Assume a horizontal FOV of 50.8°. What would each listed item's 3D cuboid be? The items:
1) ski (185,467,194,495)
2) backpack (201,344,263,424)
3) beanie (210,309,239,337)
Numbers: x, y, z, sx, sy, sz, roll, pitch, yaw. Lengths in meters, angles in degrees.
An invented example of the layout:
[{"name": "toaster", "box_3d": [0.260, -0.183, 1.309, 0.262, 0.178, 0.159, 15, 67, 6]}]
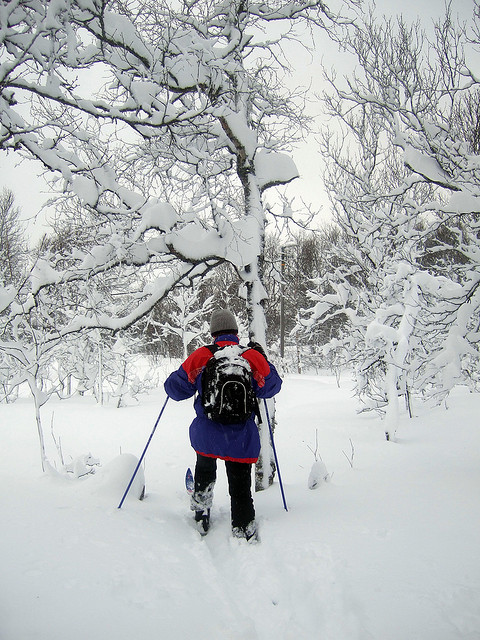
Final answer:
[{"name": "ski", "box_3d": [-0.430, 1.375, 4.303, 0.068, 0.269, 0.099, 2, -12, -15]}, {"name": "backpack", "box_3d": [-0.061, 0.482, 3.793, 0.452, 0.523, 0.406, 4, 9, -4]}, {"name": "beanie", "box_3d": [-0.141, 0.027, 4.290, 0.202, 0.231, 0.195, -4, -4, 23]}]
